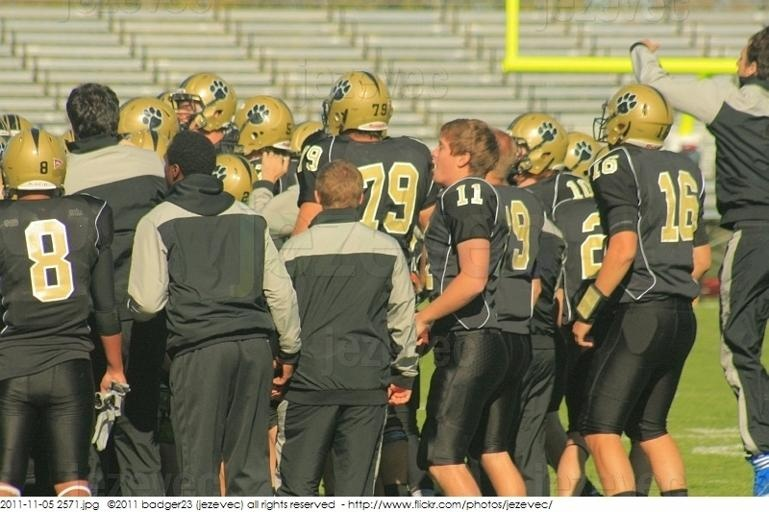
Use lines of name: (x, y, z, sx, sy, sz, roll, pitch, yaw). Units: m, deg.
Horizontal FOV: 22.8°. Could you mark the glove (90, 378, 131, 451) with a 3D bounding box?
glove: (-2.985, 1.745, 20.711, 0.393, 0.851, 0.586, 0, 10, -9)
